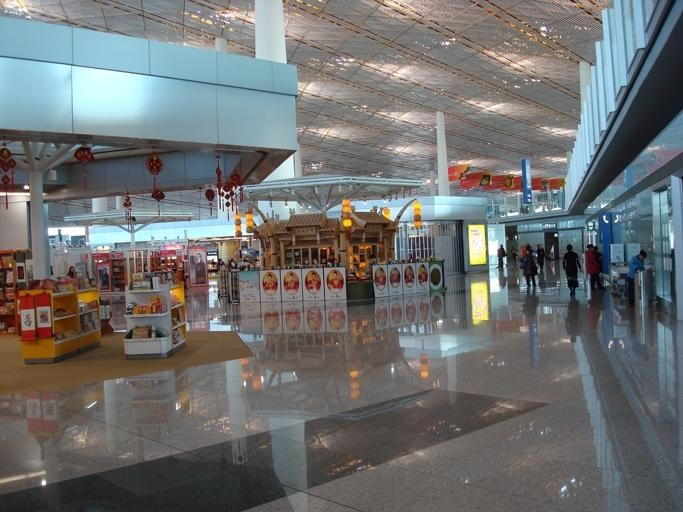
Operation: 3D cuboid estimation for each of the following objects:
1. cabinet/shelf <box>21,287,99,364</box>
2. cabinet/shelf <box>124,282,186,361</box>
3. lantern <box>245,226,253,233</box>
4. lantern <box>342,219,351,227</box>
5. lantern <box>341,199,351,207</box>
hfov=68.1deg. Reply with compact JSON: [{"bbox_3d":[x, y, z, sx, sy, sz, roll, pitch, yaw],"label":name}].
[{"bbox_3d":[-5.194,1.199,9.326,0.599,1.449,1.351,-4,1,11],"label":"cabinet/shelf"},{"bbox_3d":[-3.325,1.179,8.901,0.661,1.143,1.283,0,-2,3],"label":"cabinet/shelf"},{"bbox_3d":[-3.442,-0.947,18.638,0.202,0.213,0.215,0,4,-8],"label":"lantern"},{"bbox_3d":[0.168,-1.093,16.936,0.257,0.236,0.215,-2,7,-2],"label":"lantern"},{"bbox_3d":[0.143,-1.736,16.641,0.189,0.292,0.254,-4,1,-29],"label":"lantern"}]
